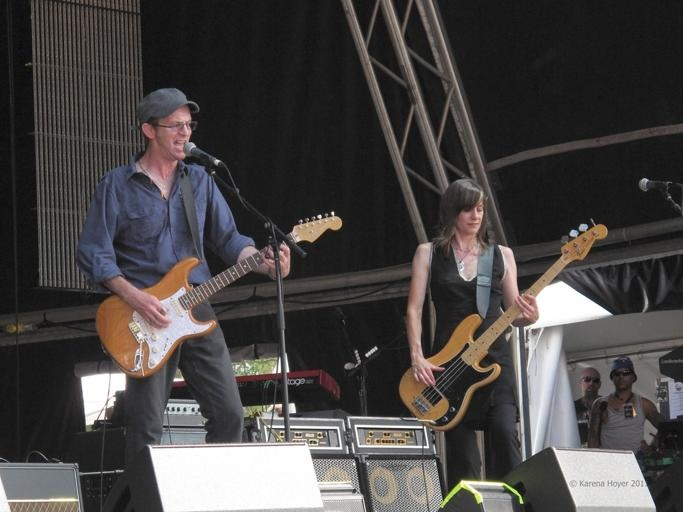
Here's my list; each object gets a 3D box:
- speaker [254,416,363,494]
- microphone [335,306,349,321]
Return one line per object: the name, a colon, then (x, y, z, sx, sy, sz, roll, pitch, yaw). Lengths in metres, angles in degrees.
speaker: (-0.259, 1.338, 7.154, 0.814, 0.550, 0.603, 3, 1, -13)
microphone: (-0.019, 0.557, 9.944, 0.036, 0.128, 0.140, -29, -30, 8)
